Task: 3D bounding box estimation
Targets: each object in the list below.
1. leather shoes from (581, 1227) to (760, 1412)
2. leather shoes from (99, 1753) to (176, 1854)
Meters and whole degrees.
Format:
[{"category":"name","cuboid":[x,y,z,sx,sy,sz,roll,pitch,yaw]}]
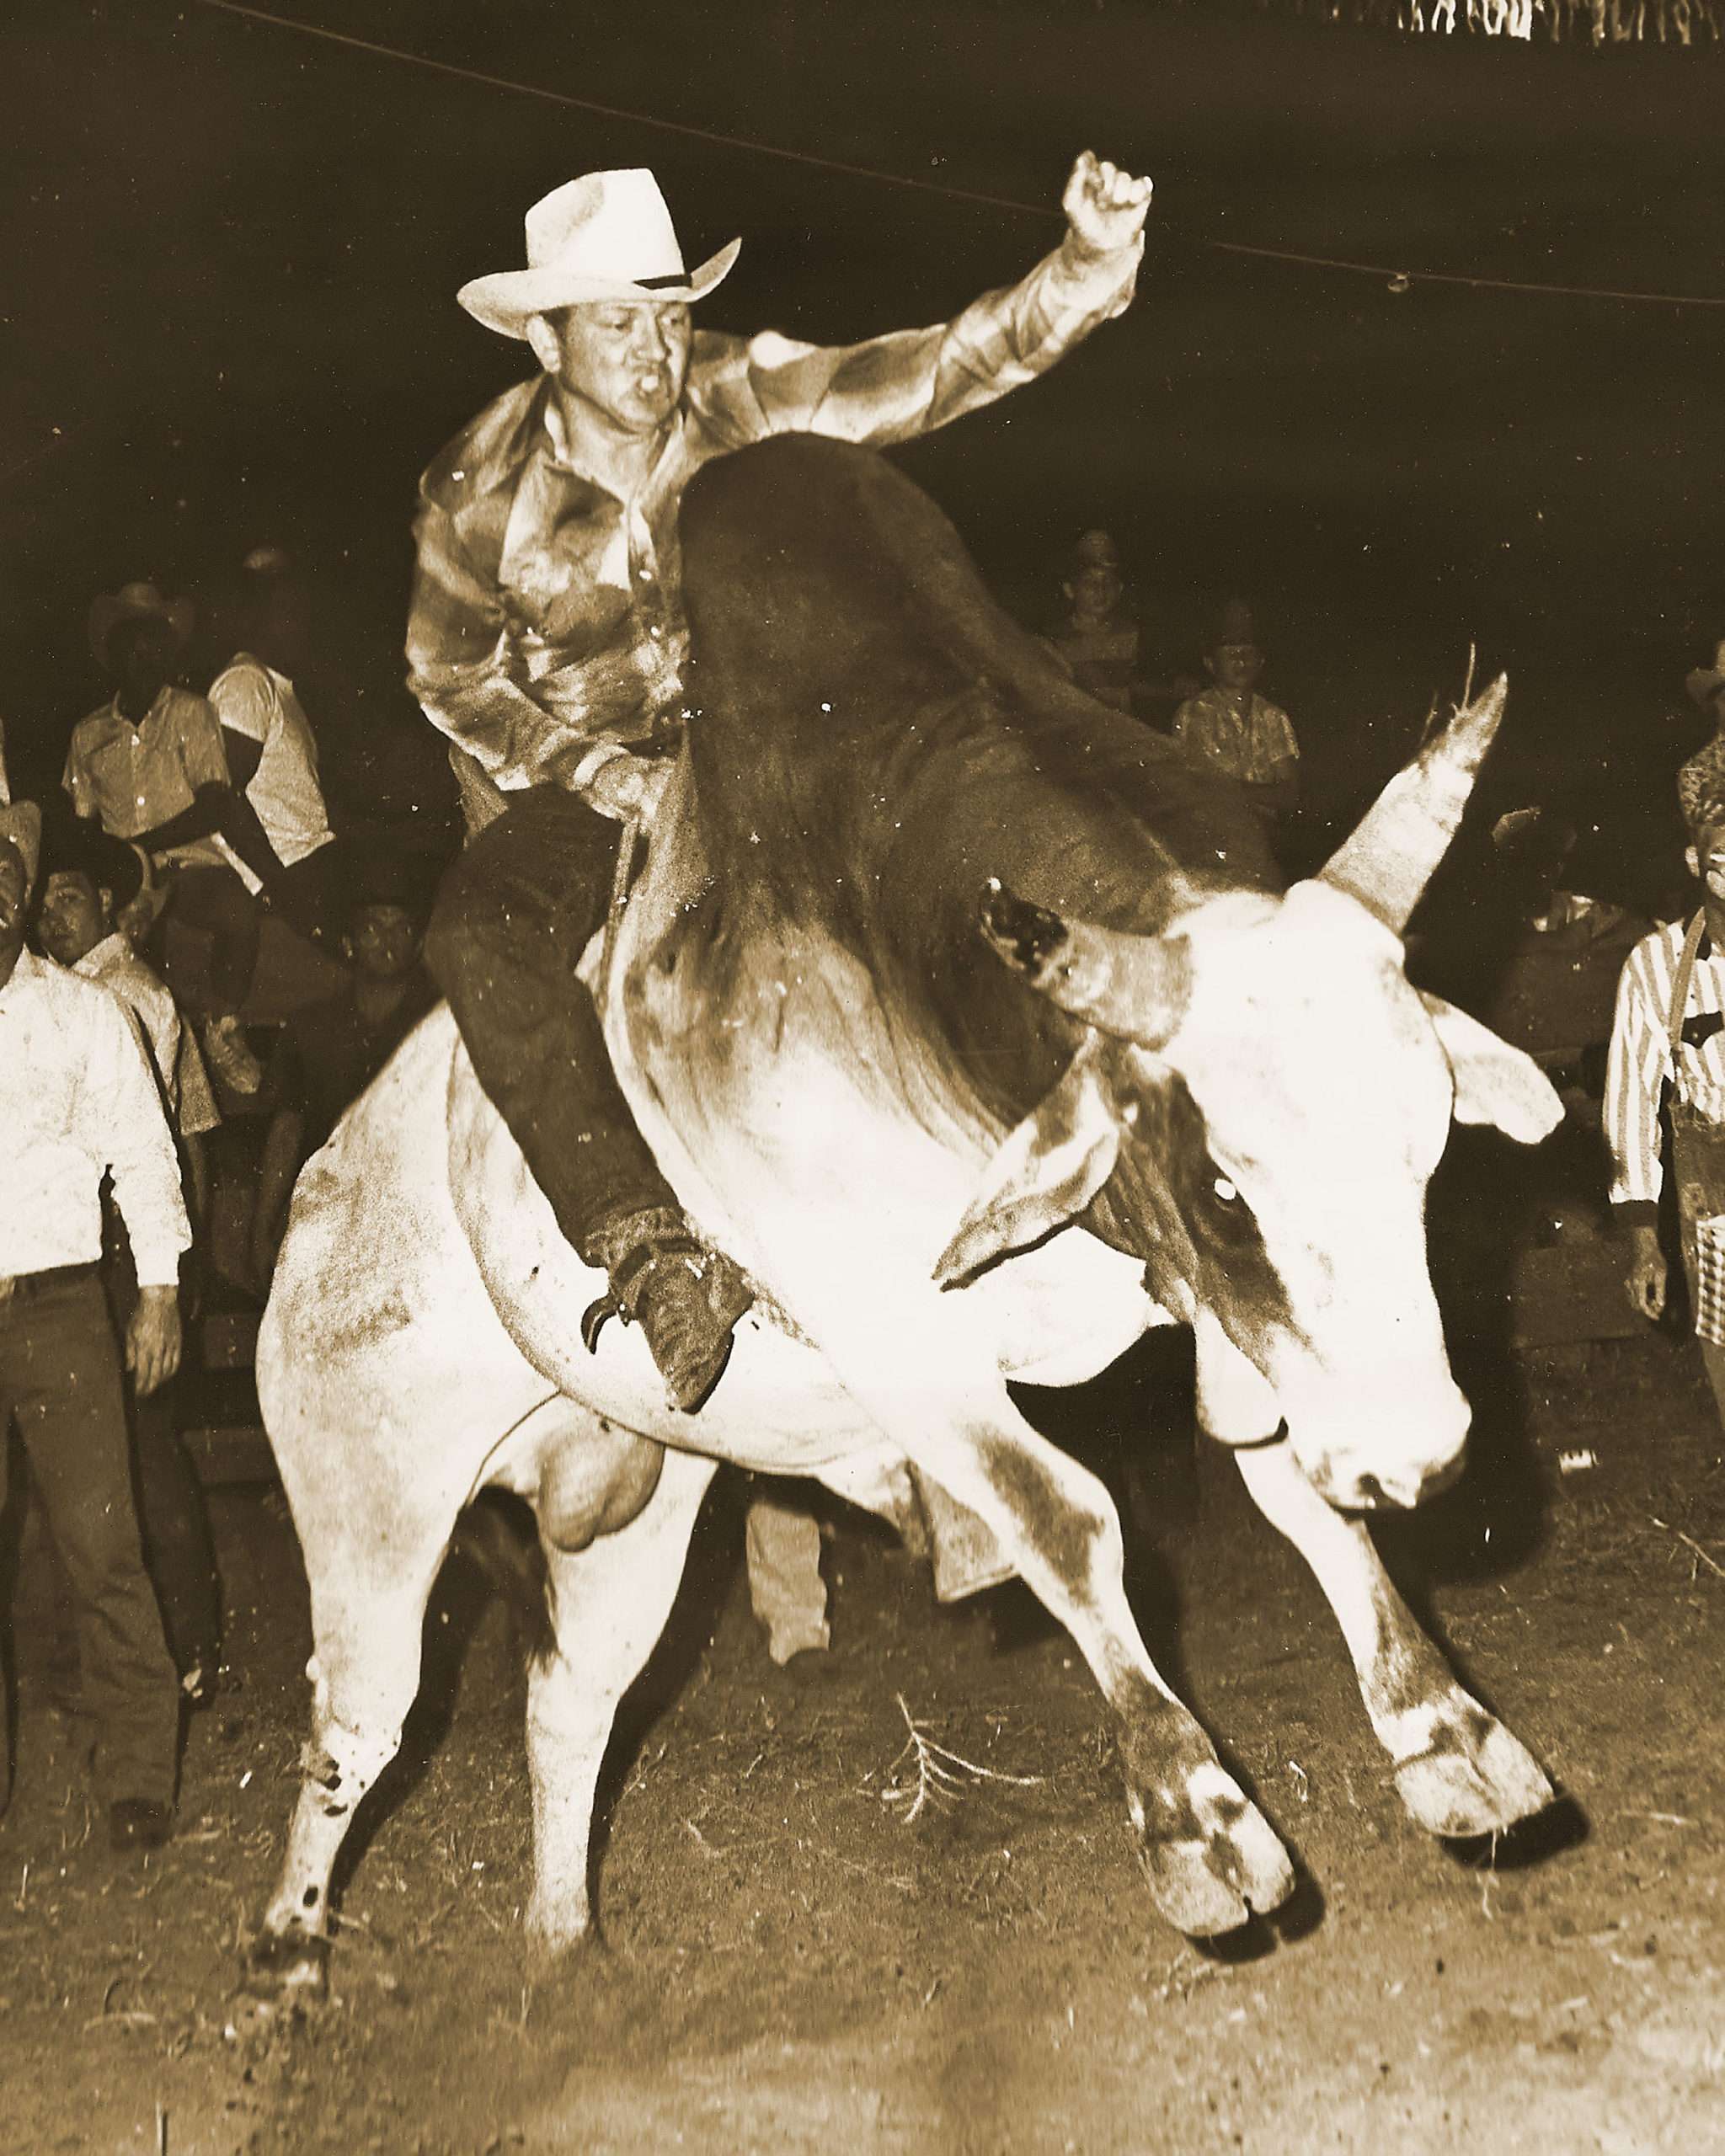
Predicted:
[{"category":"leather shoes","cuboid":[-0.238,0.301,4.030,0.181,0.092,0.239,-42,66,12]},{"category":"leather shoes","cuboid":[-1.026,1.043,4.350,0.107,0.079,0.065,-7,32,-3]}]
